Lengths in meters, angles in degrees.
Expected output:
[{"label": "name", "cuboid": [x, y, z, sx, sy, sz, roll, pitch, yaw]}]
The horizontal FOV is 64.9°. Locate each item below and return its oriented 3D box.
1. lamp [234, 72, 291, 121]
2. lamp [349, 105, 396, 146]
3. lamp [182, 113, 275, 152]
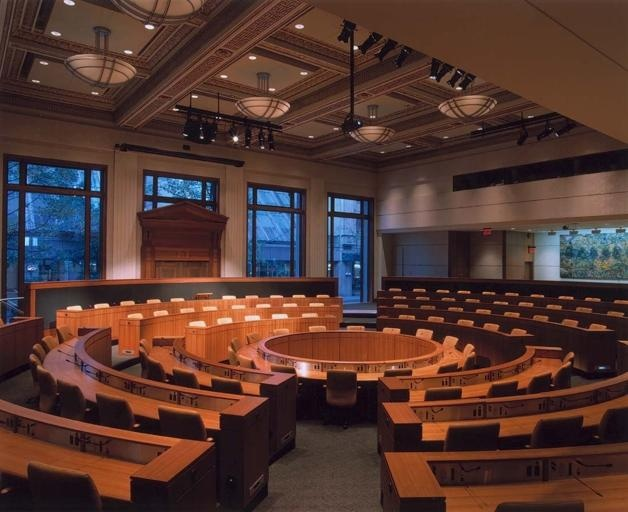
[{"label": "lamp", "cuboid": [-1.043, -3.113, 9.378, 1.289, 0.950, 1.178, -11, 20, -3]}, {"label": "lamp", "cuboid": [1.359, -3.138, 11.252, 0.995, 0.780, 0.868, -4, 30, 13]}, {"label": "lamp", "cuboid": [-2.110, -3.123, 12.686, 2.503, 0.558, 0.939, 9, 4, 12]}]
